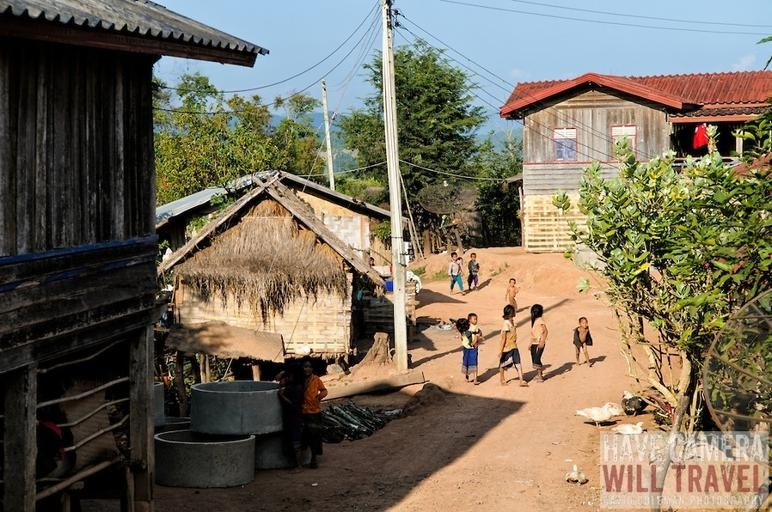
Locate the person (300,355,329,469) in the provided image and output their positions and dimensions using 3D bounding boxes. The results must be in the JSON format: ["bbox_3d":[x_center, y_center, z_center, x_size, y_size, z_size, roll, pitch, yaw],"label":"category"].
[{"bbox_3d":[-1.461,3.125,18.531,0.443,2.201,0.660,1,4,-6],"label":"person"}]

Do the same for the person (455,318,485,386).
[{"bbox_3d":[2.079,2.252,23.142,0.640,1.855,0.544,0,0,31],"label":"person"}]

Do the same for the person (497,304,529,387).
[{"bbox_3d":[3.011,2.107,22.209,0.713,1.929,0.786,0,-1,6],"label":"person"}]

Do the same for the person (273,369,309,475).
[{"bbox_3d":[-1.919,3.280,18.611,0.625,1.923,0.635,0,0,38],"label":"person"}]

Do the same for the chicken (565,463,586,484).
[{"bbox_3d":[3.258,3.727,15.976,0.368,0.231,0.506,3,4,15],"label":"chicken"}]
